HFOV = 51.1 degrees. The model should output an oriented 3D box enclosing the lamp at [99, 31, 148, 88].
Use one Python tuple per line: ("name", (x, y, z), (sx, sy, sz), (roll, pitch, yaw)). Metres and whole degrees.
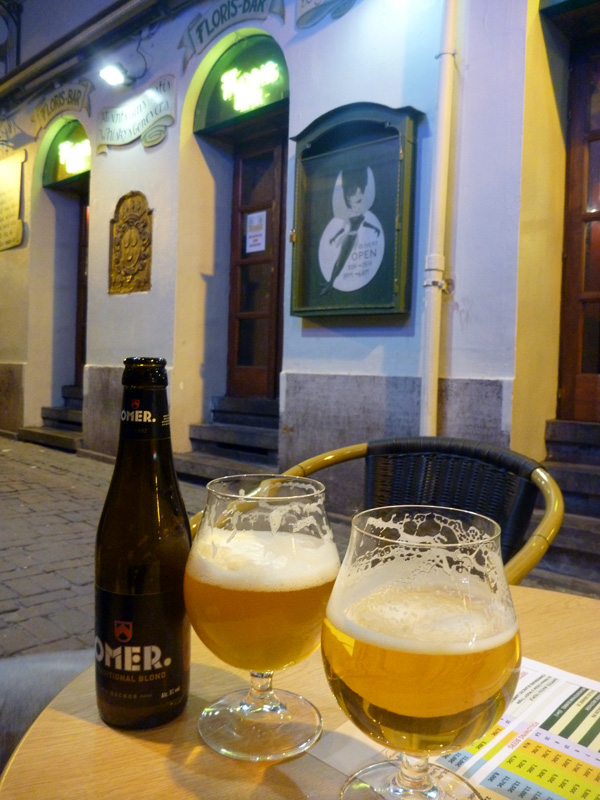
("lamp", (-1.771, -3.367, 6.291), (0.553, 0.405, 0.136), (-35, -8, 14))
